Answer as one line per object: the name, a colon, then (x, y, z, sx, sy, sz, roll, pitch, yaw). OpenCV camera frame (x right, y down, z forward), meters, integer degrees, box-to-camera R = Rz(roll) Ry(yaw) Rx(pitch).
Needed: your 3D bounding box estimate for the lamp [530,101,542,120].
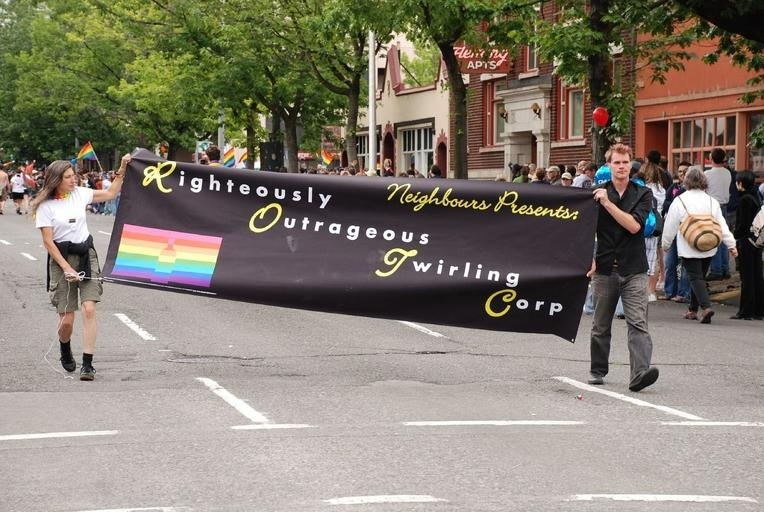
lamp: (4.729, -4.451, 35.537, 0.221, 0.478, 0.554, 0, 9, -8)

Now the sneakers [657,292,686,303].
sneakers: (5.048, 0.727, 20.220, 0.154, 0.193, 0.480, 3, -9, -25)

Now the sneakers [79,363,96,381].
sneakers: (-3.371, 1.329, 13.379, 0.185, 0.157, 0.265, -1, 9, -14)

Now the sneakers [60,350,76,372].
sneakers: (-3.681, 1.253, 13.725, 0.116, 0.294, 0.119, -27, 4, -17)

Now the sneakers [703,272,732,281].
sneakers: (6.308, 0.401, 21.868, 0.546, 0.208, 0.175, 2, 5, 9)

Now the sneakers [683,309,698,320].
sneakers: (4.789, 0.913, 18.057, 0.114, 0.090, 0.223, 1, 5, 3)

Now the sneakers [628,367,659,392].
sneakers: (2.960, 1.382, 13.124, 0.262, 0.324, 0.279, -1, 9, -11)

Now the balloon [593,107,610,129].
balloon: (4.262, -2.695, 22.478, 0.266, 0.320, 0.271, -27, 26, 5)

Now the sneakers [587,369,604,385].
sneakers: (2.487, 1.415, 13.447, 0.105, 0.106, 0.249, 1, 3, 3)

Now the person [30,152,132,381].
person: (-3.581, 0.124, 13.624, 0.879, 2.473, 1.166, 0, 9, -5)
